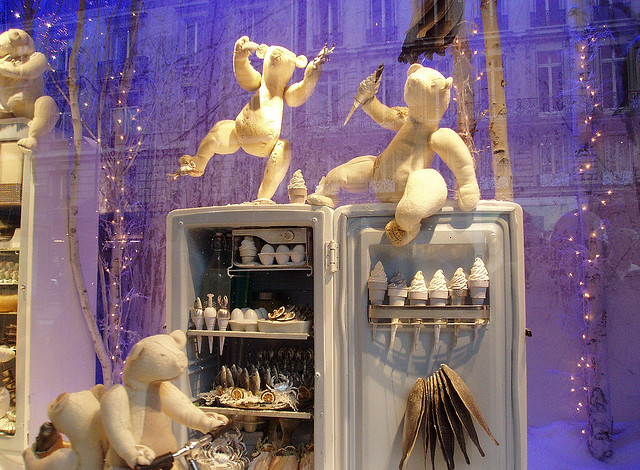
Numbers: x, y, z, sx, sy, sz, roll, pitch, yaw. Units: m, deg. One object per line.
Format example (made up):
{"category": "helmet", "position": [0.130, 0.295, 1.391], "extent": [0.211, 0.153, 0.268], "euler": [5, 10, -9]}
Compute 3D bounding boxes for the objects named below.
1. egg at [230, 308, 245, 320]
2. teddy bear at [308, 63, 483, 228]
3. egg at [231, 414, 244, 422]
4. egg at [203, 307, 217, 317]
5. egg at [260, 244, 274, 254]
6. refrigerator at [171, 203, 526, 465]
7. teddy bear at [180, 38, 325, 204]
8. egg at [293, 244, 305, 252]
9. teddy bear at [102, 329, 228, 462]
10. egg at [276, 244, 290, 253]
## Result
{"category": "egg", "position": [-0.467, 0.459, 3.921], "extent": [0.058, 0.060, 0.064], "euler": [1, -5, -13]}
{"category": "teddy bear", "position": [0.479, -0.515, 3.895], "extent": [0.944, 1.048, 0.495], "euler": [13, 2, 30]}
{"category": "egg", "position": [-0.487, 1.106, 4.082], "extent": [0.070, 0.050, 0.081], "euler": [-1, -5, 6]}
{"category": "egg", "position": [-0.623, 0.450, 3.918], "extent": [0.049, 0.055, 0.051], "euler": [1, 0, -30]}
{"category": "egg", "position": [-0.296, 0.083, 3.909], "extent": [0.043, 0.065, 0.048], "euler": [3, 1, 13]}
{"category": "refrigerator", "position": [0.206, 0.556, 3.755], "extent": [1.153, 1.339, 0.501], "euler": [-1, -4, 7]}
{"category": "teddy bear", "position": [-0.381, -0.686, 4.125], "extent": [0.670, 1.106, 0.324], "euler": [13, -21, 11]}
{"category": "egg", "position": [-0.117, 0.080, 3.874], "extent": [0.064, 0.044, 0.016], "euler": [0, -3, -4]}
{"category": "teddy bear", "position": [-0.808, 0.784, 3.587], "extent": [0.527, 0.814, 0.570], "euler": [-4, -6, 31]}
{"category": "egg", "position": [-0.206, 0.082, 3.888], "extent": [0.046, 0.066, 0.051], "euler": [4, -4, -12]}
